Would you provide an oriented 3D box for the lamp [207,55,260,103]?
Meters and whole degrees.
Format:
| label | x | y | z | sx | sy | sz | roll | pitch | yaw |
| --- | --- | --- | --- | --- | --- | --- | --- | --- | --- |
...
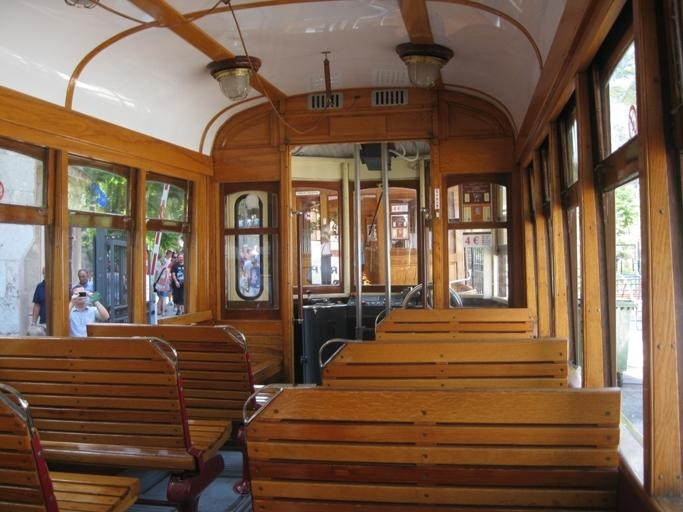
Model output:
| label | x | y | z | sx | sy | sz | roll | pitch | yaw |
| --- | --- | --- | --- | --- | --- | --- | --- | --- | --- |
| lamp | -1.114 | -1.840 | 5.522 | 0.413 | 0.275 | 0.422 | -5 | 2 | 44 |

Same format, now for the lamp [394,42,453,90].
| label | x | y | z | sx | sy | sz | roll | pitch | yaw |
| --- | --- | --- | --- | --- | --- | --- | --- | --- | --- |
| lamp | 0.816 | -1.863 | 5.204 | 0.553 | 0.449 | 0.292 | -1 | -4 | 3 |

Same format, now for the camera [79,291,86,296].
| label | x | y | z | sx | sy | sz | roll | pitch | yaw |
| --- | --- | --- | --- | --- | --- | --- | --- | --- | --- |
| camera | -2.455 | 0.364 | 5.139 | 0.011 | 0.032 | 0.048 | 3 | 4 | 32 |

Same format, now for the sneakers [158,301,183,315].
| label | x | y | z | sx | sy | sz | roll | pitch | yaw |
| --- | --- | --- | --- | --- | --- | --- | --- | --- | --- |
| sneakers | -2.097 | 0.657 | 6.633 | 0.078 | 0.120 | 0.273 | -4 | -8 | 14 |

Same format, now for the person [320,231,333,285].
| label | x | y | z | sx | sy | sz | roll | pitch | yaw |
| --- | --- | --- | --- | --- | --- | --- | --- | --- | --- |
| person | -0.272 | 0.013 | 9.980 | 0.191 | 1.022 | 0.149 | -1 | -5 | -4 |
